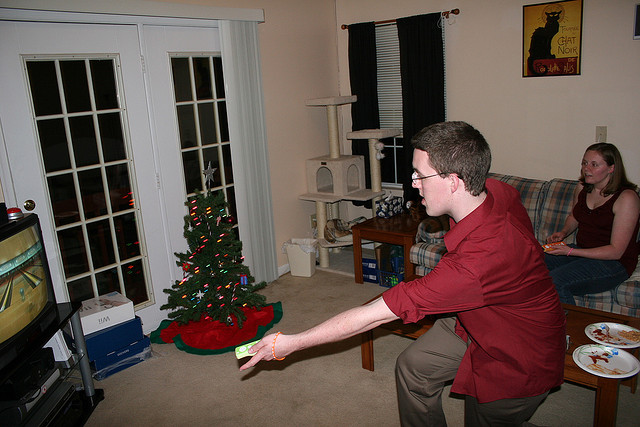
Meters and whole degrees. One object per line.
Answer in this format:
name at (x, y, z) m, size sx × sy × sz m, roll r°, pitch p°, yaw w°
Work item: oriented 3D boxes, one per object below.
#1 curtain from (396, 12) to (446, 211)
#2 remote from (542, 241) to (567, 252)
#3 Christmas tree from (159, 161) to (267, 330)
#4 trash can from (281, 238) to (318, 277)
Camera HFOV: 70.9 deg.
curtain at (1.331, -1.433, 5.838) m, size 0.773 × 2.318 × 0.114 m, roll -3°, pitch 45°, yaw 12°
remote at (2.084, 0.295, 4.019) m, size 0.145 × 0.043 × 0.145 m, roll -10°, pitch 5°, yaw -1°
Christmas tree at (-1.067, 0.379, 4.588) m, size 1.066 × 1.598 × 1.050 m, roll -9°, pitch 3°, yaw 18°
trash can at (-0.212, 0.524, 5.756) m, size 0.489 × 0.479 × 0.447 m, roll 0°, pitch 1°, yaw 14°
